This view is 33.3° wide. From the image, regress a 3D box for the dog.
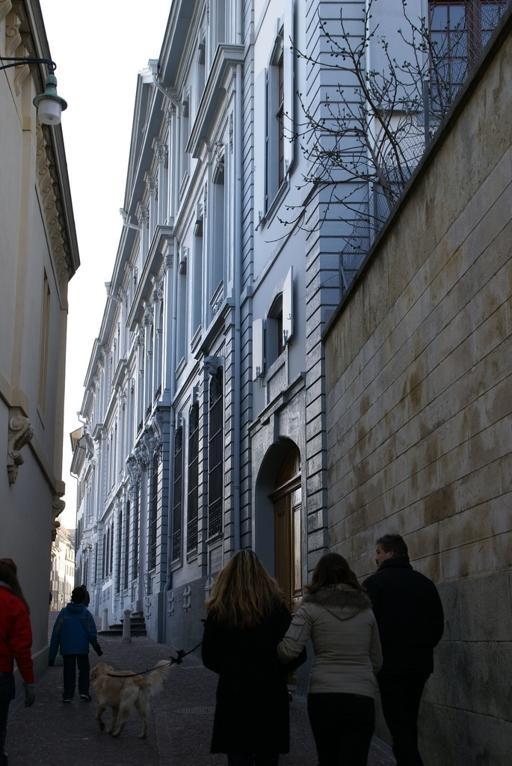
[{"bbox_3d":[-1.426,3.390,9.215,0.708,0.879,2.801,4,-29,-11],"label":"dog"}]
